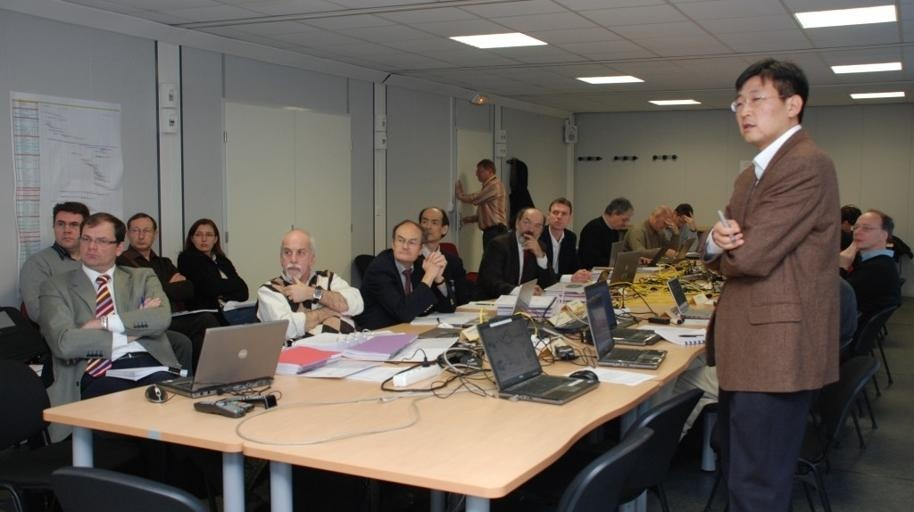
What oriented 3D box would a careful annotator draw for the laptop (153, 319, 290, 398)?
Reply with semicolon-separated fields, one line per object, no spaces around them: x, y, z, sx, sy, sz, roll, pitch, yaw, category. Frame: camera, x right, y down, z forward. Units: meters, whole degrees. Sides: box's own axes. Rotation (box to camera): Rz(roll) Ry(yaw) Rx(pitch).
-1.473;0.561;3.808;0.570;0.374;0.564;1;4;-43;laptop

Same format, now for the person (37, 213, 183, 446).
-2.763;0.644;4.884;1.103;1.828;1.062;5;10;12;person

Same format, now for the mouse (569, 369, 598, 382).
0.815;0.774;3.839;0.129;0.037;0.077;-2;1;19;mouse

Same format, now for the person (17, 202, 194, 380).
-3.017;0.464;5.393;1.467;1.534;1.033;1;7;38;person

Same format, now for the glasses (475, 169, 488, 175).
0.442;-1.479;10.704;0.151;0.076;0.109;5;-3;1;glasses

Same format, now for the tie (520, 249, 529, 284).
0.764;0.115;6.821;0.091;0.345;0.108;11;3;26;tie

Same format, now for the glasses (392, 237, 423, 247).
-0.452;-0.115;5.360;0.240;0.082;0.091;-4;5;-9;glasses

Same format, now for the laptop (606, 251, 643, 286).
1.930;0.146;6.915;0.379;0.314;0.533;6;8;36;laptop

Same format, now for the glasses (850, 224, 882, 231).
4.373;-0.298;6.396;0.186;0.050;0.182;10;-12;-37;glasses

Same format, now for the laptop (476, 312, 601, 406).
0.493;0.599;3.707;0.605;0.387;0.600;-3;2;32;laptop

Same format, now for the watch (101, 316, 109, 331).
-2.711;0.526;4.615;0.034;0.090;0.094;7;-30;-10;watch

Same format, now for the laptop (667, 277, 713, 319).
2.025;0.412;5.481;0.289;0.388;0.465;-18;-11;26;laptop

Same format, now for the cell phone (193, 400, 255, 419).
-1.342;0.877;3.437;0.162;0.034;0.151;7;-2;10;cell phone

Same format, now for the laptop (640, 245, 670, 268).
2.764;0.008;8.639;0.306;0.309;0.473;7;-3;28;laptop

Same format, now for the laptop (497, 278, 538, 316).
0.470;0.384;5.274;0.315;0.258;0.429;16;14;25;laptop

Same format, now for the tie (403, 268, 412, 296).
-0.454;0.235;5.431;0.077;0.196;0.131;1;21;10;tie
